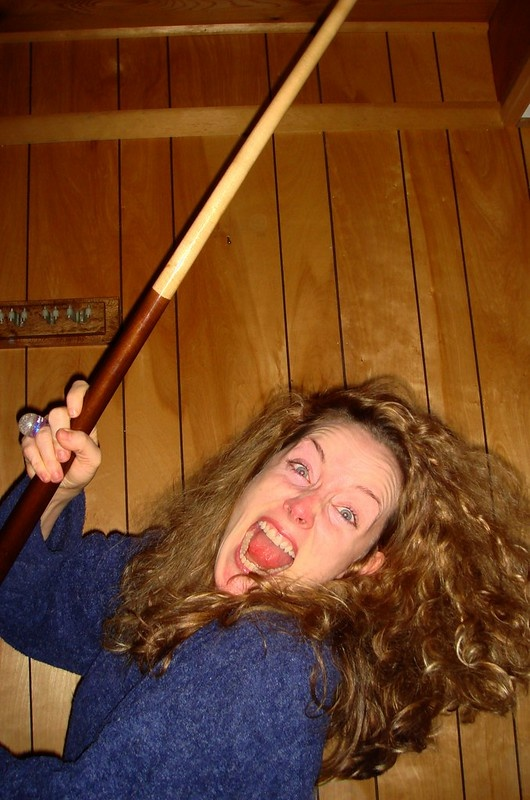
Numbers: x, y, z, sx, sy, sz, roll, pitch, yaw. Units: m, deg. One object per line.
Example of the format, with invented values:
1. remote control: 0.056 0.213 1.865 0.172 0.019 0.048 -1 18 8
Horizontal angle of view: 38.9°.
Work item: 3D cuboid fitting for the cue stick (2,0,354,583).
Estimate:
1. cue stick: -0.193 -0.218 1.677 0.047 1.587 0.066 37 -13 -35
